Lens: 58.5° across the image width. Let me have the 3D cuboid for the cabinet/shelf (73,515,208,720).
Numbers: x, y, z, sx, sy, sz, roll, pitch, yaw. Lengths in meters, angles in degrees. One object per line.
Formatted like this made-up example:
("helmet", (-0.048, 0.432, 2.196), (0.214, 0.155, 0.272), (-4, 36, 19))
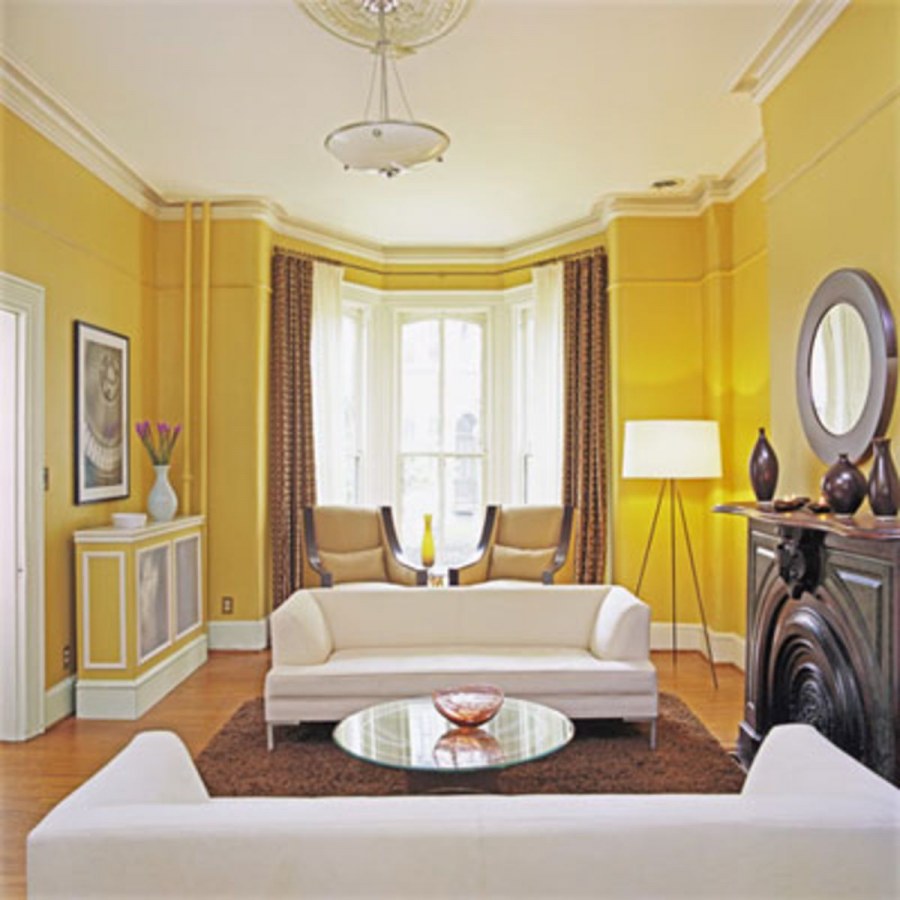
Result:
("cabinet/shelf", (-1.718, 0.924, 4.395), (0.208, 0.765, 0.898), (-1, -2, 0))

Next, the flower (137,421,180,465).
("flower", (-1.867, -0.053, 5.147), (0.251, 0.370, 0.272), (-4, -6, 44))

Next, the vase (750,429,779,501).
("vase", (1.356, 0.061, 3.481), (0.103, 0.342, 0.297), (-2, -6, 21))

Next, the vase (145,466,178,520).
("vase", (-1.782, 0.273, 4.982), (0.173, 0.363, 0.450), (2, -6, -22))

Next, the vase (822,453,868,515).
("vase", (1.316, 0.114, 2.682), (0.127, 0.207, 0.146), (-5, 1, 9))

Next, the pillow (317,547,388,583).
("pillow", (-0.637, 0.767, 5.366), (0.452, 0.225, 0.246), (1, -6, -11))

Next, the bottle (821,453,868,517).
("bottle", (1.292, 0.115, 2.630), (0.149, 0.244, 0.159), (2, -6, 0))
